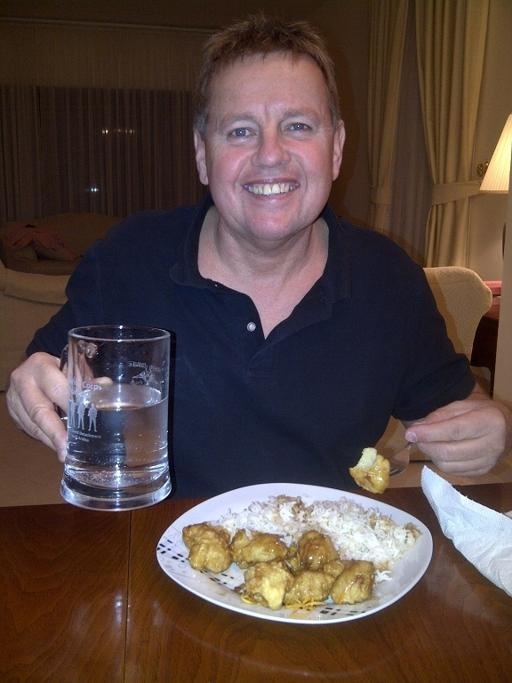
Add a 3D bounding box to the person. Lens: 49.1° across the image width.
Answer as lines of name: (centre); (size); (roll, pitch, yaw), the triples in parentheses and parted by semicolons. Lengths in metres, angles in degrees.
person: (0.022, -0.181, 1.279); (1.012, 1.014, 0.459); (-1, 14, -12)
